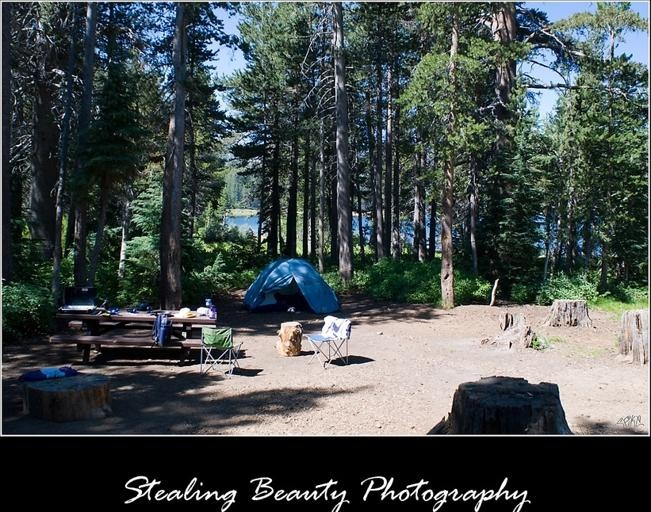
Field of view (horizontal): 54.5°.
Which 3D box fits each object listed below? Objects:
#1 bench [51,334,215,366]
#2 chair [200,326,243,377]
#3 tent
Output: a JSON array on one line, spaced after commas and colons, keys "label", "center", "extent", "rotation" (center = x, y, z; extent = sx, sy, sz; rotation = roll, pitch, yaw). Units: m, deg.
[{"label": "bench", "center": [-4.782, 2.179, 15.638], "extent": [3.379, 0.805, 1.654], "rotation": [1, 9, -5]}, {"label": "chair", "center": [-2.561, 2.244, 15.141], "extent": [0.992, 1.304, 0.985], "rotation": [2, 7, -23]}, {"label": "tent", "center": [-1.238, 1.075, 22.513], "extent": [2.600, 2.021, 3.328], "rotation": [2, 6, -18]}]
